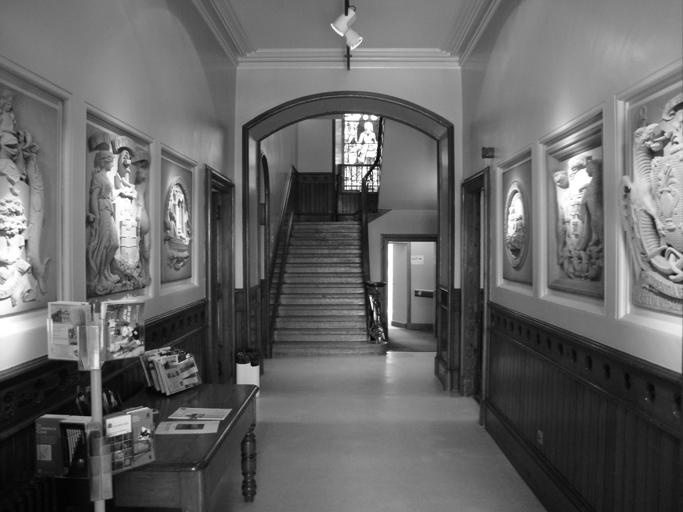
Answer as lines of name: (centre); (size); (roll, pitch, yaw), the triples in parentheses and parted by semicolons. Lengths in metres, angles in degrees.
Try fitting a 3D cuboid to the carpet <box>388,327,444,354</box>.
carpet: (1.423, 1.633, 10.043); (0.912, 0.170, 2.799); (0, 3, 8)
